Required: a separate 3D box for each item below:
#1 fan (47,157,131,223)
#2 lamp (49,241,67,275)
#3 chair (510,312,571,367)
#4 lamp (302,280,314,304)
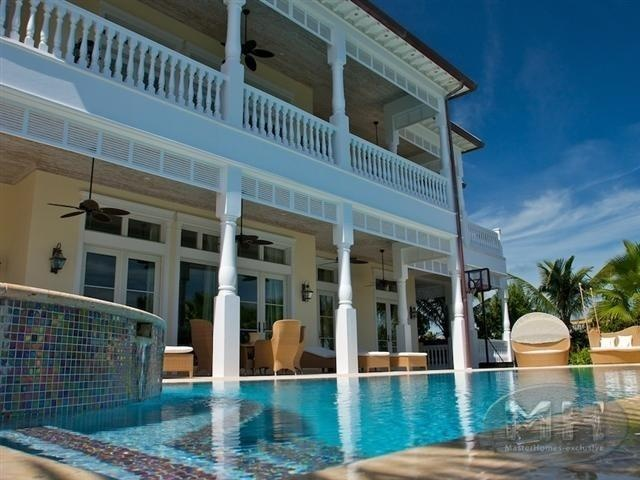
[{"bbox_3d":[-4.558,-0.910,8.738,1.496,1.079,0.861,-20,-23,41],"label":"fan"},{"bbox_3d":[-5.231,0.360,8.722,0.283,0.621,0.282,4,-19,-24],"label":"lamp"},{"bbox_3d":[7.183,3.425,14.281,1.716,1.778,2.134,-9,-4,24],"label":"chair"},{"bbox_3d":[-0.387,1.574,13.101,0.375,0.579,0.213,12,-24,-42],"label":"lamp"}]
